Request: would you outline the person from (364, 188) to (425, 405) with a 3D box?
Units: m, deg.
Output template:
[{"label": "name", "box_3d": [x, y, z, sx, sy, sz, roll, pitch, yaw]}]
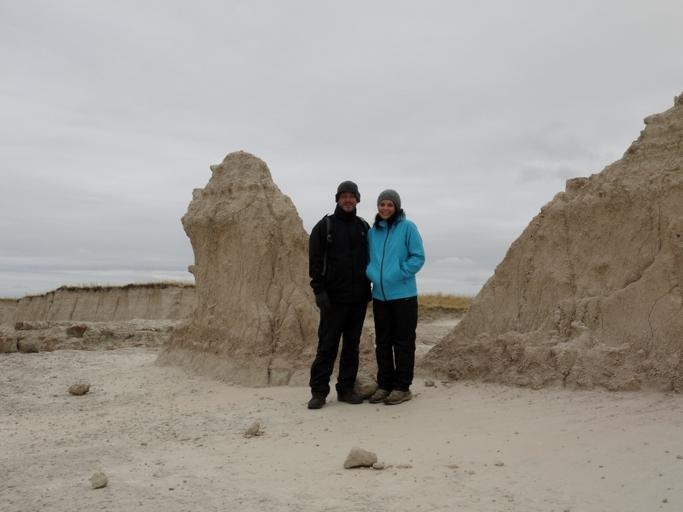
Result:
[{"label": "person", "box_3d": [0.609, 0.454, 6.455, 0.653, 2.401, 0.543, -2, 4, 7]}]

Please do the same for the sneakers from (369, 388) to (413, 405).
[{"label": "sneakers", "box_3d": [0.559, 1.593, 6.427, 0.509, 0.140, 0.285, -3, 4, 1]}]

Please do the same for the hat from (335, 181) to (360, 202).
[{"label": "hat", "box_3d": [0.072, -0.730, 6.431, 0.242, 0.222, 0.250, -3, 4, -5]}]

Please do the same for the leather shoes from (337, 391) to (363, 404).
[{"label": "leather shoes", "box_3d": [0.092, 1.642, 6.545, 0.258, 0.111, 0.122, -8, -10, 36]}]

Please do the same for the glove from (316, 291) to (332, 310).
[{"label": "glove", "box_3d": [-0.212, 0.509, 6.374, 0.156, 0.206, 0.126, -3, 4, -3]}]

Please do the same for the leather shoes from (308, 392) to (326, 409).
[{"label": "leather shoes", "box_3d": [-0.281, 1.620, 6.333, 0.182, 0.151, 0.341, -2, 4, 8]}]
